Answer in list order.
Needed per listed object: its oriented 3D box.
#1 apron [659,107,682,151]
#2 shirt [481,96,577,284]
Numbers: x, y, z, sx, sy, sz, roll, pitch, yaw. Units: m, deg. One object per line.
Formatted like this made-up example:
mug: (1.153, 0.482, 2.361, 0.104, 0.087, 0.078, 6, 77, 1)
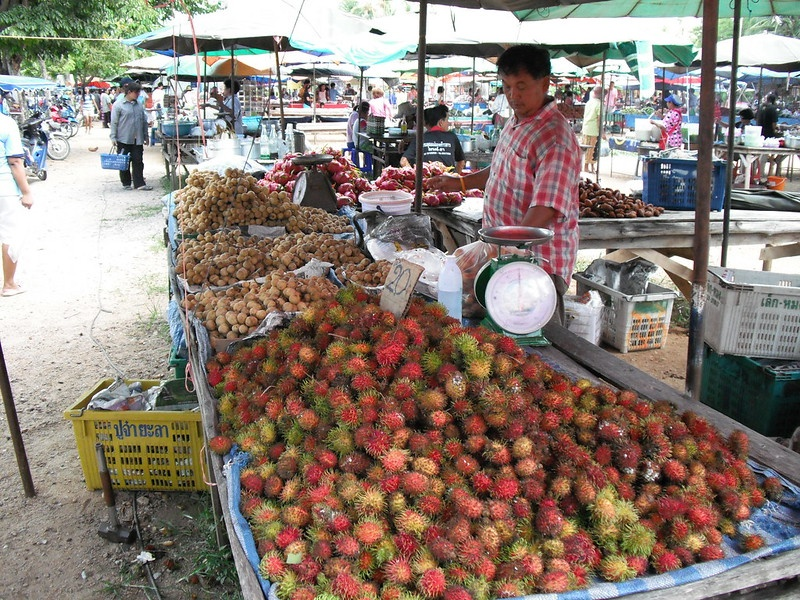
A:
apron: (5.596, -3.569, 12.028, 0.430, 0.804, 0.676, -7, 15, 17)
shirt: (0.644, -0.631, 3.066, 0.370, 0.829, 0.845, -6, 31, -14)
